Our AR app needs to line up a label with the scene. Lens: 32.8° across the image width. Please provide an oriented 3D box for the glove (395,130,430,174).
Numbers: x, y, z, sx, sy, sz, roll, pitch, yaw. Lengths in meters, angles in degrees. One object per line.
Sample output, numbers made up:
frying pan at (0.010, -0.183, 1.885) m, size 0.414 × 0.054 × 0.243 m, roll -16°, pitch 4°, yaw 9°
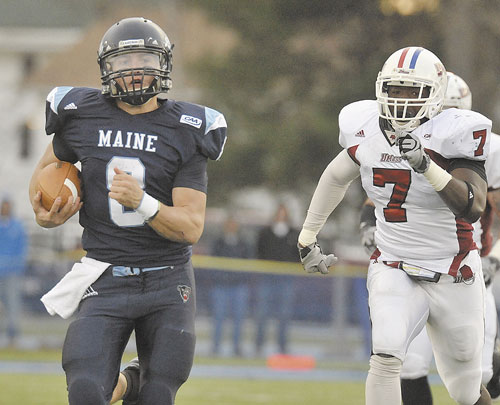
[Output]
glove at (0.887, -0.279, 4.680) m, size 0.087 × 0.224 × 0.164 m, roll -21°, pitch 9°, yaw -41°

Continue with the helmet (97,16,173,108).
helmet at (-0.653, -0.817, 4.995) m, size 0.417 × 0.459 × 0.516 m, roll -1°, pitch -2°, yaw -1°

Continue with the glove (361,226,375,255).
glove at (0.843, 0.257, 6.103) m, size 0.060 × 0.175 × 0.124 m, roll 0°, pitch 2°, yaw -38°

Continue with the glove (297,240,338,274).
glove at (0.464, 0.355, 5.603) m, size 0.116 × 0.188 × 0.235 m, roll -30°, pitch -12°, yaw 39°

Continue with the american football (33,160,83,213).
american football at (-1.095, -0.089, 5.042) m, size 0.258 × 0.305 × 0.261 m, roll 27°, pitch -37°, yaw -37°

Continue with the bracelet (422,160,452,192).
bracelet at (1.029, -0.155, 4.753) m, size 0.157 × 0.142 × 0.127 m, roll 16°, pitch 6°, yaw -5°

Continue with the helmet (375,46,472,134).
helmet at (1.005, -0.701, 5.142) m, size 0.315 × 0.336 × 0.588 m, roll -3°, pitch 3°, yaw 26°

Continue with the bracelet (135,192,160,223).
bracelet at (-0.560, 0.019, 4.734) m, size 0.123 × 0.133 × 0.148 m, roll 46°, pitch 2°, yaw -19°
